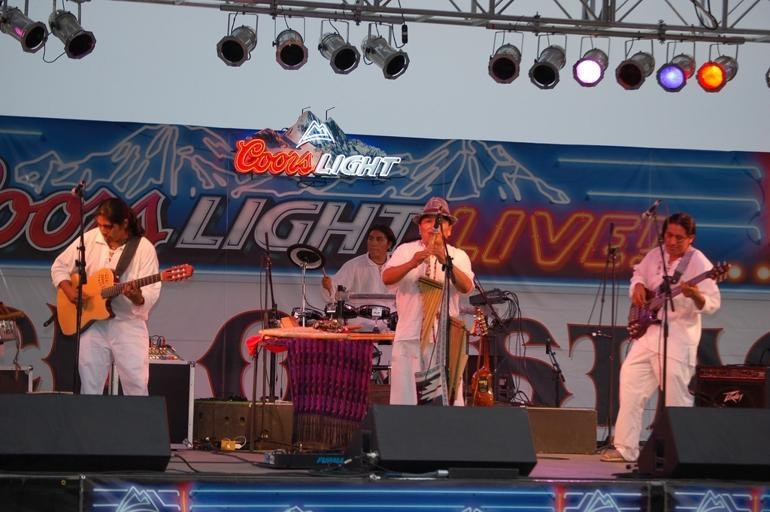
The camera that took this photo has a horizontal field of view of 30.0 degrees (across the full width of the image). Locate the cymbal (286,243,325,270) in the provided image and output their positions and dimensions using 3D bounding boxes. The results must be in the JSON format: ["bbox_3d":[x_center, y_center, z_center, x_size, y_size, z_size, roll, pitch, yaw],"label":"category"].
[{"bbox_3d":[-0.903,0.004,16.826,0.432,0.241,0.546,4,-10,-3],"label":"cymbal"}]

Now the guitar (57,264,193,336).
[{"bbox_3d":[-2.934,0.465,15.596,1.317,0.794,0.558,4,-9,1],"label":"guitar"}]

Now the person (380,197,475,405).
[{"bbox_3d":[0.469,0.773,15.630,0.939,2.722,0.785,-2,12,-6],"label":"person"}]

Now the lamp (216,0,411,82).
[{"bbox_3d":[-0.828,-2.582,16.988,2.242,0.772,0.531,5,-9,-7],"label":"lamp"}]

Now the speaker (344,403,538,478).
[{"bbox_3d":[0.631,1.835,14.062,1.295,0.454,0.864,4,-50,-6],"label":"speaker"}]

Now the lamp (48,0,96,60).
[{"bbox_3d":[-3.614,-2.655,16.673,0.527,0.687,0.355,6,-10,-14],"label":"lamp"}]

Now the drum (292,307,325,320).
[{"bbox_3d":[-0.918,0.689,16.852,0.219,0.101,0.303,4,5,-18],"label":"drum"}]

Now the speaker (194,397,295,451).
[{"bbox_3d":[-1.618,1.921,16.383,1.187,0.556,0.503,4,-9,1],"label":"speaker"}]

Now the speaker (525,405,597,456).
[{"bbox_3d":[2.072,2.070,17.022,1.001,0.567,0.641,1,-6,-2],"label":"speaker"}]

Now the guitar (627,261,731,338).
[{"bbox_3d":[3.217,0.504,15.780,0.168,0.558,1.402,21,-33,-18],"label":"guitar"}]

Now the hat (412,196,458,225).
[{"bbox_3d":[0.570,-0.518,16.679,0.400,0.206,0.452,0,-16,3],"label":"hat"}]

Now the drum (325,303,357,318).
[{"bbox_3d":[-0.502,0.634,16.497,0.308,0.128,0.181,0,-6,9],"label":"drum"}]
